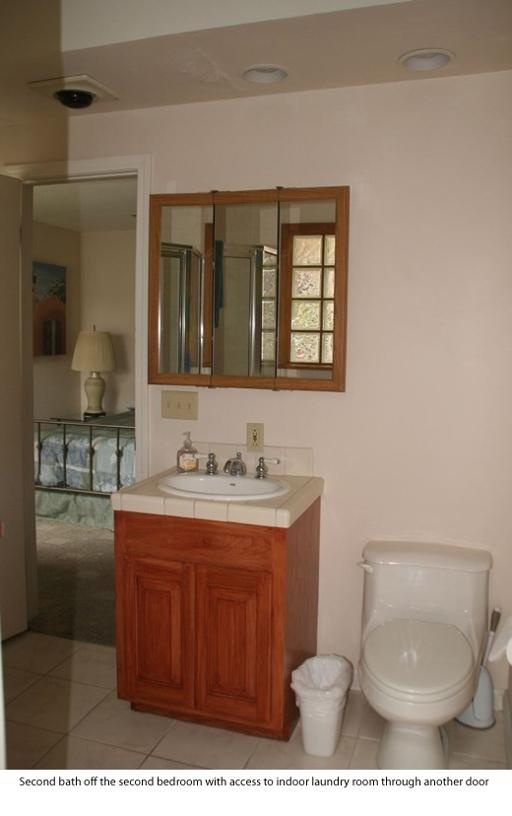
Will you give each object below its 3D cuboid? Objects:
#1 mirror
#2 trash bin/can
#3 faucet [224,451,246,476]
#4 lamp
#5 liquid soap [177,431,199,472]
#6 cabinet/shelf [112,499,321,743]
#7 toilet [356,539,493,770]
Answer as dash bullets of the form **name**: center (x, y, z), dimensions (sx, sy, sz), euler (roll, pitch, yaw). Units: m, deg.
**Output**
- **mirror**: center (-0.002, -0.461, 2.309), dimensions (0.697, 0.788, 0.083), euler (2, 7, 20)
- **trash bin/can**: center (0.205, 0.913, 1.957), dimensions (0.183, 0.208, 0.232), euler (-3, -1, 8)
- **faucet**: center (-0.072, 0.211, 2.343), dimensions (0.100, 0.113, 0.069), euler (2, -1, 4)
- **lamp**: center (-1.532, -0.354, 5.863), dimensions (0.384, 0.851, 0.570), euler (-1, 4, -16)
- **liquid soap**: center (-0.263, 0.160, 2.352), dimensions (0.075, 0.143, 0.121), euler (-1, 4, -16)
- **cabinet/shelf**: center (-0.158, 0.627, 2.135), dimensions (0.582, 0.787, 0.398), euler (3, 10, 9)
- **toilet**: center (0.495, 0.758, 1.911), dimensions (0.380, 0.569, 0.601), euler (3, 6, 21)
